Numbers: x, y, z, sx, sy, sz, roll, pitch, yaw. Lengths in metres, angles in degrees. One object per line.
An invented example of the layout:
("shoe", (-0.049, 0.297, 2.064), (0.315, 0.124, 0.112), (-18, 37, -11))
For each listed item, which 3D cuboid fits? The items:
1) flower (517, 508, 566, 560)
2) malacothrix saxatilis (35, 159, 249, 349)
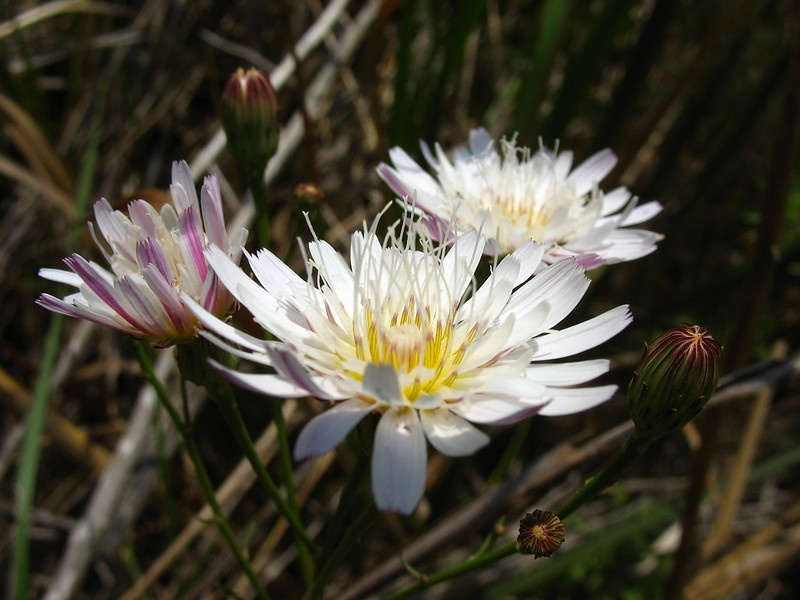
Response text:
("flower", (0.312, 0.534, 1.688), (0.108, 0.121, 0.085), (6, 33, -8))
("malacothrix saxatilis", (-0.537, -0.022, 1.786), (0.449, 0.353, 0.495), (-7, 19, 40))
